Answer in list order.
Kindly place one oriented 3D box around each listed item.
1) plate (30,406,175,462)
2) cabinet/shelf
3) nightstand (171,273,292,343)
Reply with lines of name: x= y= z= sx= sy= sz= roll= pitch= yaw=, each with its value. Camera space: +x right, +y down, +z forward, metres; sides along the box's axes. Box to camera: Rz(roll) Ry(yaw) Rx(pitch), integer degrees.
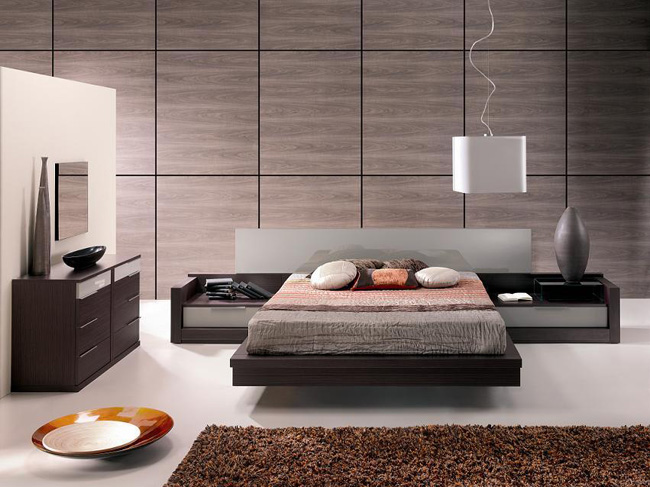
plate: x=-1.195 y=1.022 z=3.060 sx=0.691 sy=0.131 sz=0.432 roll=-2 pitch=4 yaw=-25
cabinet/shelf: x=-1.773 y=0.573 z=3.953 sx=0.469 sy=0.522 sz=1.054 roll=-1 pitch=3 yaw=1
nightstand: x=-0.799 y=0.569 z=5.112 sx=1.081 sy=0.407 sz=0.681 roll=2 pitch=13 yaw=7
